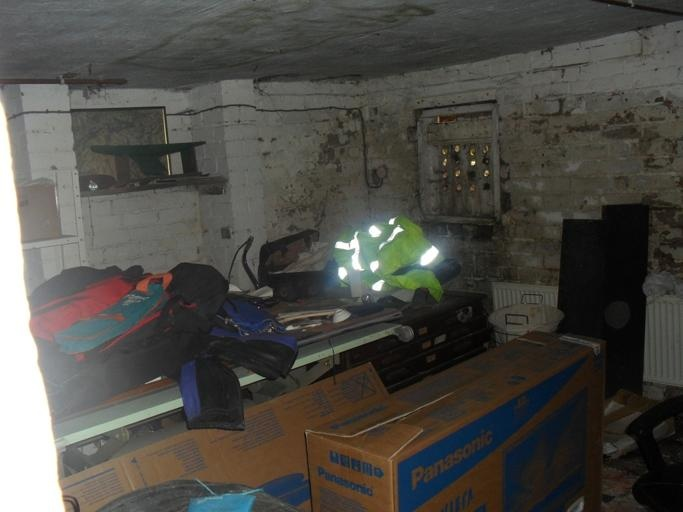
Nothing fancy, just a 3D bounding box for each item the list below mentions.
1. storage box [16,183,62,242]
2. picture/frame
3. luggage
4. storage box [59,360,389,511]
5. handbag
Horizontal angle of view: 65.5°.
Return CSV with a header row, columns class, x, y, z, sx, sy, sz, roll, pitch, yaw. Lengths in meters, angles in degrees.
class,x,y,z,sx,sy,sz,roll,pitch,yaw
storage box,-2.121,-0.320,3.713,0.252,0.433,0.269,-7,9,-25
picture/frame,-2.100,-0.935,4.884,1.078,0.805,0.241,-7,5,-36
luggage,-0.367,0.125,4.193,0.670,0.445,0.243,-18,-37,21
storage box,-0.466,0.872,2.508,1.126,0.577,0.251,-16,-1,-38
handbag,-1.138,0.269,2.619,0.420,0.133,0.636,27,31,31
